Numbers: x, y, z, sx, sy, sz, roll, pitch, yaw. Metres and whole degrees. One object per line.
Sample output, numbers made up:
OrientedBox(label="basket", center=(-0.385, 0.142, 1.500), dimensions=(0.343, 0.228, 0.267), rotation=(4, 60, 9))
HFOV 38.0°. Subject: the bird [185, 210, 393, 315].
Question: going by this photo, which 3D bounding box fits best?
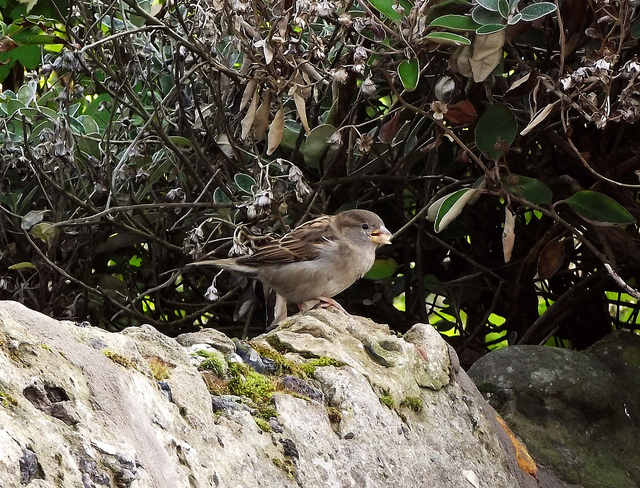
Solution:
OrientedBox(label="bird", center=(-0.173, 0.079, 4.741), dimensions=(1.060, 0.581, 0.344), rotation=(3, 5, 6))
